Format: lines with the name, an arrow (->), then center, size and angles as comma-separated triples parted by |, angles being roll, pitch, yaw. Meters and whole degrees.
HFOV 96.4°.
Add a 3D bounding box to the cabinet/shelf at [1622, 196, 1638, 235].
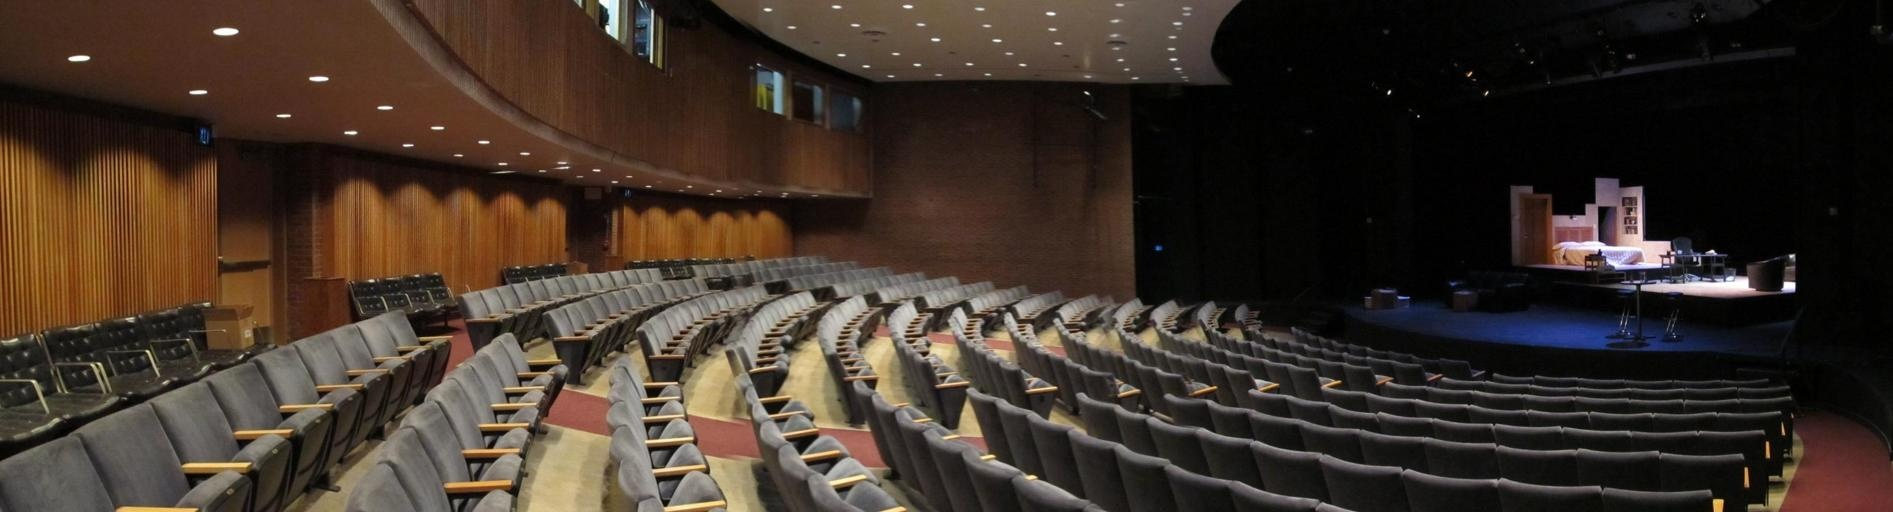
cabinet/shelf -> 26.027, -1.640, 33.422 | 0.347, 1.278, 0.780 | -6, 4, 1
